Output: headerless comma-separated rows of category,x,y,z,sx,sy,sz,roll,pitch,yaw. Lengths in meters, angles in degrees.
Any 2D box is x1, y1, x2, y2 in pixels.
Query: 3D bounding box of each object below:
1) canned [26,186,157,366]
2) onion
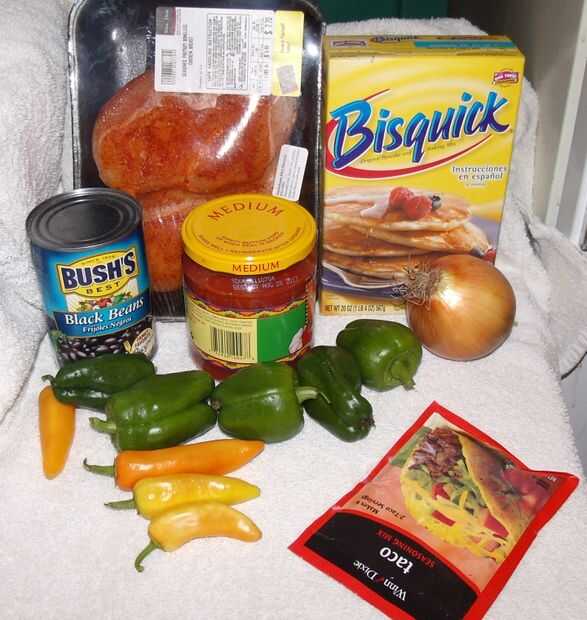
canned,-0.255,-0.040,0.870,0.159,0.237,0.139,-4,33,-4
onion,0.243,-0.003,0.930,0.140,0.130,0.117,-5,38,-7
